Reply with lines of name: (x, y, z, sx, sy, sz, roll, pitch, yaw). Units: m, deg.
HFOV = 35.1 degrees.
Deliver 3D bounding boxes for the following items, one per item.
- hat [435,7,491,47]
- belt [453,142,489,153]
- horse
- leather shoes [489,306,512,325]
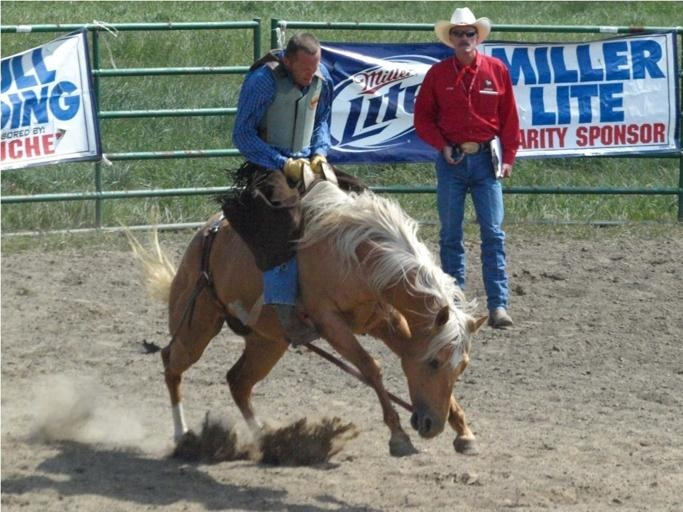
hat: (1.233, -2.428, 11.122, 0.430, 0.218, 0.508, 0, -15, 2)
belt: (1.323, -1.080, 10.884, 0.349, 0.114, 0.067, 1, 9, 6)
horse: (-0.201, 0.540, 9.366, 2.885, 2.406, 0.737, 5, 10, 28)
leather shoes: (1.620, 0.628, 11.000, 0.215, 0.246, 0.291, 0, 9, -5)
